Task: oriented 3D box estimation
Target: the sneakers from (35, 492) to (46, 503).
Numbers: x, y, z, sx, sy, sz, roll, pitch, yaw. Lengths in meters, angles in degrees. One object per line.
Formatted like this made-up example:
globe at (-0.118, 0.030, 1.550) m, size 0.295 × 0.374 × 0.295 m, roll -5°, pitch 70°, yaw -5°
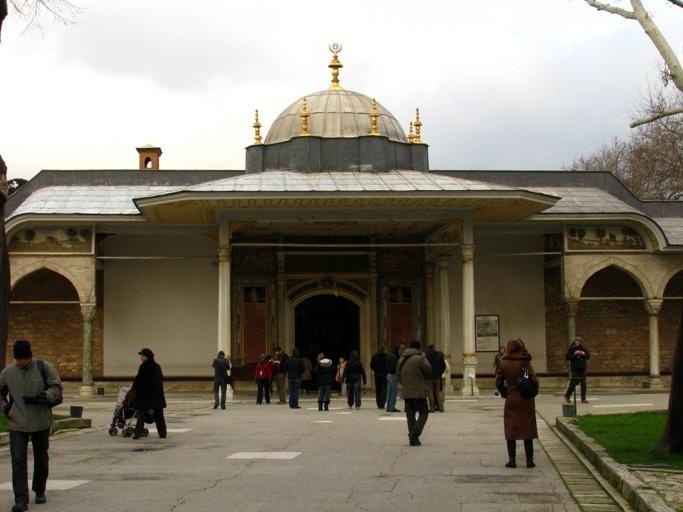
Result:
sneakers at (-4.206, 3.375, 13.357) m, size 0.077 × 0.156 × 0.230 m, roll 9°, pitch -28°, yaw -33°

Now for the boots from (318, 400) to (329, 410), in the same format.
boots at (-0.455, 3.836, 24.616) m, size 0.289 × 0.213 × 0.218 m, roll 3°, pitch -13°, yaw -14°

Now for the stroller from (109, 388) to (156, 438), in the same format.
stroller at (-4.102, 3.026, 19.040) m, size 1.050 × 0.948 × 0.526 m, roll -20°, pitch -25°, yaw 20°

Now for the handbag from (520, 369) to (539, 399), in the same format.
handbag at (3.008, 2.052, 15.416) m, size 0.291 × 0.603 × 0.603 m, roll -5°, pitch -19°, yaw 6°

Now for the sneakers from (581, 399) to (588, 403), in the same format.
sneakers at (6.423, 3.821, 25.340) m, size 0.169 × 0.056 × 0.114 m, roll 7°, pitch -12°, yaw -41°

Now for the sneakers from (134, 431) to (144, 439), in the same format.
sneakers at (-3.940, 3.460, 18.572) m, size 0.187 × 0.127 × 0.306 m, roll 0°, pitch -6°, yaw -7°

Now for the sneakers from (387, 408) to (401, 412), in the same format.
sneakers at (1.282, 3.768, 23.604) m, size 0.313 × 0.132 × 0.105 m, roll 0°, pitch -4°, yaw -1°

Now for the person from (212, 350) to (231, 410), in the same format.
person at (-3.209, 3.270, 25.534) m, size 0.436 × 1.500 × 1.896 m, roll 0°, pitch -6°, yaw -7°

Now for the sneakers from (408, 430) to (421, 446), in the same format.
sneakers at (1.330, 3.293, 17.344) m, size 0.216 × 0.236 × 0.266 m, roll -1°, pitch -6°, yaw 3°

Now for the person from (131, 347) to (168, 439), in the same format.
person at (-3.767, 2.679, 18.768) m, size 0.644 × 1.731 × 0.554 m, roll -1°, pitch -6°, yaw -2°

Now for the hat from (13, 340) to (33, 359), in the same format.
hat at (-4.634, 1.355, 13.935) m, size 0.257 × 0.275 × 0.292 m, roll 1°, pitch -8°, yaw -34°
